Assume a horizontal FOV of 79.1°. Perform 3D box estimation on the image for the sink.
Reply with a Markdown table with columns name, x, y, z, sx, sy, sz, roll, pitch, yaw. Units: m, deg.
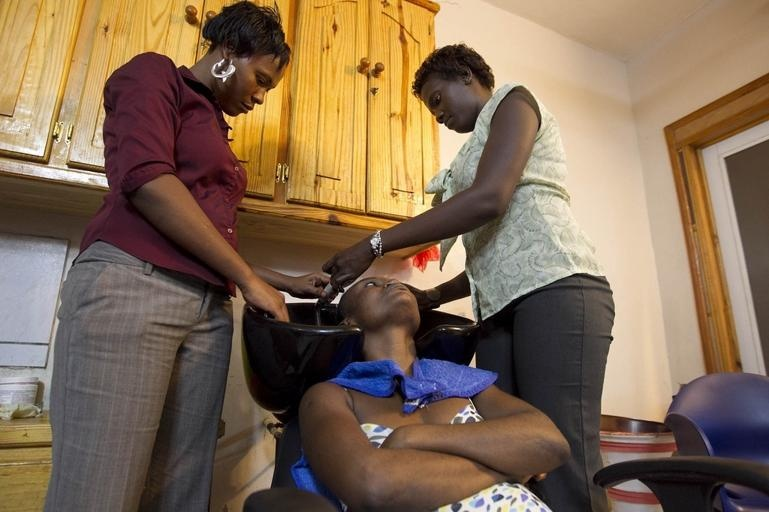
| name | x | y | z | sx | sy | sz | roll | pitch | yaw |
| --- | --- | --- | --- | --- | --- | --- | --- | --- | --- |
| sink | -0.102 | 0.318 | 1.489 | 0.569 | 0.273 | 0.495 | 2 | -11 | -8 |

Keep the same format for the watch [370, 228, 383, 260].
| name | x | y | z | sx | sy | sz | roll | pitch | yaw |
| --- | --- | --- | --- | --- | --- | --- | --- | --- | --- |
| watch | -0.028 | -0.035 | 1.624 | 0.051 | 0.086 | 0.077 | 0 | 2 | 1 |
